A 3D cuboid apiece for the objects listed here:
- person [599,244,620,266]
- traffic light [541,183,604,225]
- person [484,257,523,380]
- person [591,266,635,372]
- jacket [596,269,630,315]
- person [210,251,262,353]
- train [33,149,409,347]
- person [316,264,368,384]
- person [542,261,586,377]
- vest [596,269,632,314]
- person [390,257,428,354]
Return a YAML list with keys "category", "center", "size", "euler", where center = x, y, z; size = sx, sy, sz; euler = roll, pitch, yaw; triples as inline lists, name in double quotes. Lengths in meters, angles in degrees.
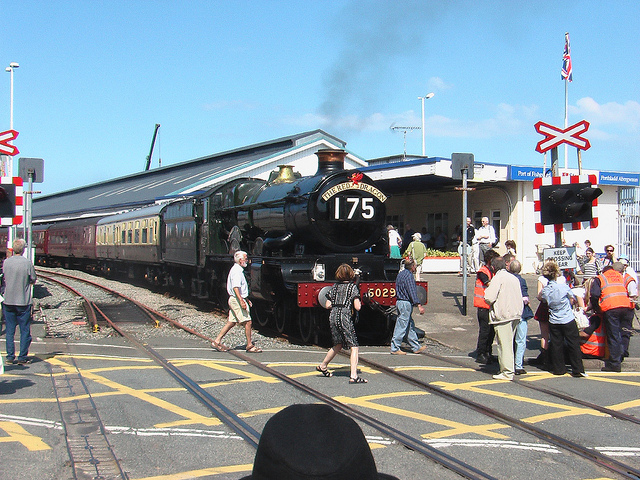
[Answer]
- category: "person"
  center: [6.965, 0.365, 14.387]
  size: [0.208, 0.492, 1.597]
  euler: [0, -1, 23]
- category: "traffic light"
  center: [4.461, -0.701, 11.123]
  size: [0.673, 0.912, 1.332]
  euler: [7, -6, -29]
- category: "person"
  center: [3.053, 1.381, 9.863]
  size: [0.626, 1.750, 0.505]
  euler: [0, -1, 2]
- category: "person"
  center: [5.213, 1.408, 10.734]
  size: [0.580, 1.806, 0.813]
  euler: [-1, -1, 36]
- category: "jacket"
  center: [5.322, 0.897, 10.737]
  size: [0.551, 0.738, 0.392]
  euler: [-2, -5, 34]
- category: "person"
  center: [-1.661, 1.223, 11.869]
  size: [0.869, 1.962, 0.990]
  euler: [1, -1, -22]
- category: "train"
  center: [-6.184, -0.425, 22.213]
  size: [3.196, 3.900, 23.080]
  euler: [-11, 8, -40]
- category: "person"
  center: [0.395, 1.308, 9.539]
  size: [0.566, 1.801, 0.912]
  euler: [1, -1, -32]
- category: "person"
  center: [4.142, 1.339, 10.179]
  size: [0.652, 1.915, 0.351]
  euler: [0, -1, 22]
- category: "vest"
  center: [5.214, 0.915, 10.626]
  size: [0.493, 0.766, 0.288]
  euler: [0, -1, 21]
- category: "person"
  center: [1.774, 1.299, 11.956]
  size: [0.677, 1.857, 0.984]
  euler: [0, -1, 11]
